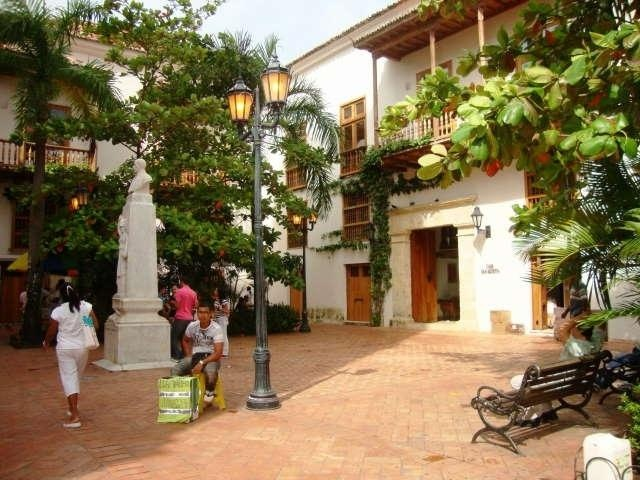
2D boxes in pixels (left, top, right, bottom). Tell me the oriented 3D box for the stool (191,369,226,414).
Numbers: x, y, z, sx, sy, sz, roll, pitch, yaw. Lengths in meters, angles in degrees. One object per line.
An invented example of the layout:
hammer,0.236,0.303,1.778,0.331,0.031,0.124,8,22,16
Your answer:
stool,-1.771,2.333,8.046,0.539,0.606,0.591,-5,-6,27

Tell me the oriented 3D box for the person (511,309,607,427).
person,3.892,2.075,8.269,1.747,0.807,0.701,0,1,-41

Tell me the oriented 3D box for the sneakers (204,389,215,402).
sneakers,-1.717,2.462,8.033,0.111,0.193,0.229,-4,-9,23

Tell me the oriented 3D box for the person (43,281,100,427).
person,-3.557,1.604,7.391,0.718,2.028,0.564,-5,-8,32

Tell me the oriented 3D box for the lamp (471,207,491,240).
lamp,5.527,-0.565,17.548,0.631,1.107,0.303,-6,-8,35

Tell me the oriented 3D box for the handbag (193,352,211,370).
handbag,-1.864,1.904,8.065,0.086,0.257,0.186,36,8,-25
